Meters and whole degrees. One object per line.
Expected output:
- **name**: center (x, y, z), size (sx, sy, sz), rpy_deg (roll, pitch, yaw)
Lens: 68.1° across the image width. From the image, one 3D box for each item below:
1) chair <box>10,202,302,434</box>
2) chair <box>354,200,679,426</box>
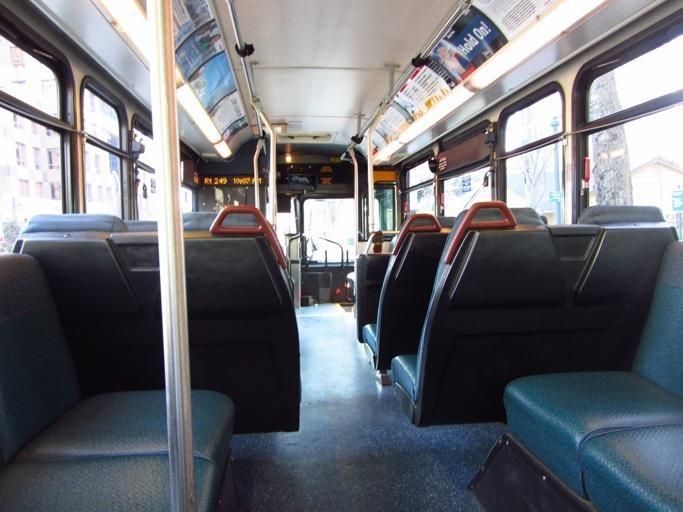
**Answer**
- **chair**: center (-1.014, 0.297, 3.242), size (1.260, 1.195, 1.328), rpy_deg (-1, 6, -12)
- **chair**: center (1.058, 0.331, 3.352), size (1.328, 1.345, 1.179), rpy_deg (0, -3, -6)
